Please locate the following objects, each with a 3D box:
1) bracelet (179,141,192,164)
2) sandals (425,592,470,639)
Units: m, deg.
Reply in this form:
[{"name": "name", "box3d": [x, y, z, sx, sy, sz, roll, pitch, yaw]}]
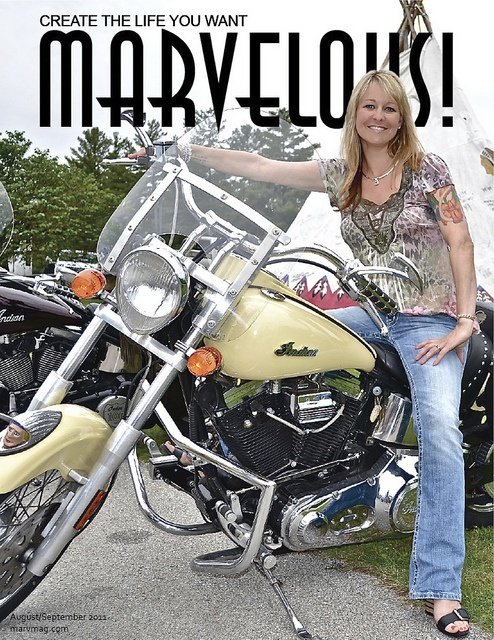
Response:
[{"name": "bracelet", "box3d": [-0.222, -0.614, 1.867, 0.023, 0.061, 0.054, -14, -8, 25]}, {"name": "sandals", "box3d": [0.759, 1.121, 1.947, 0.082, 0.042, 0.164, -1, 4, -30]}]
